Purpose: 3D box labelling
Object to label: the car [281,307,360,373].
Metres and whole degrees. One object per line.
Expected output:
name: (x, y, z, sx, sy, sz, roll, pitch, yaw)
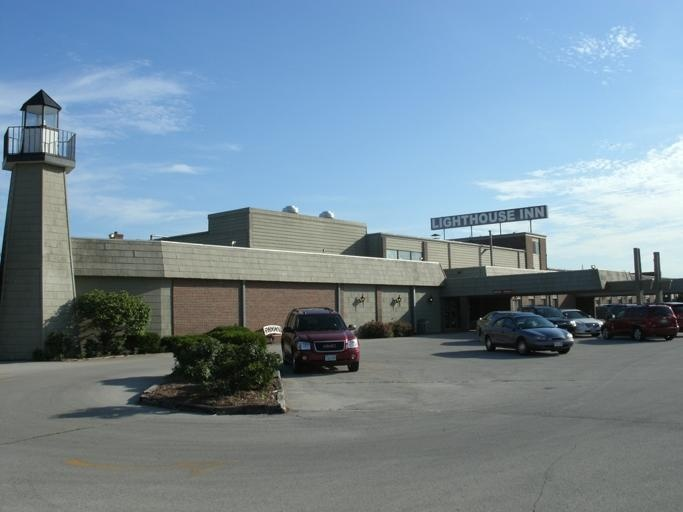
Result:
car: (-0.805, 2.861, 21.257, 1.984, 2.170, 2.691, 1, -7, -15)
